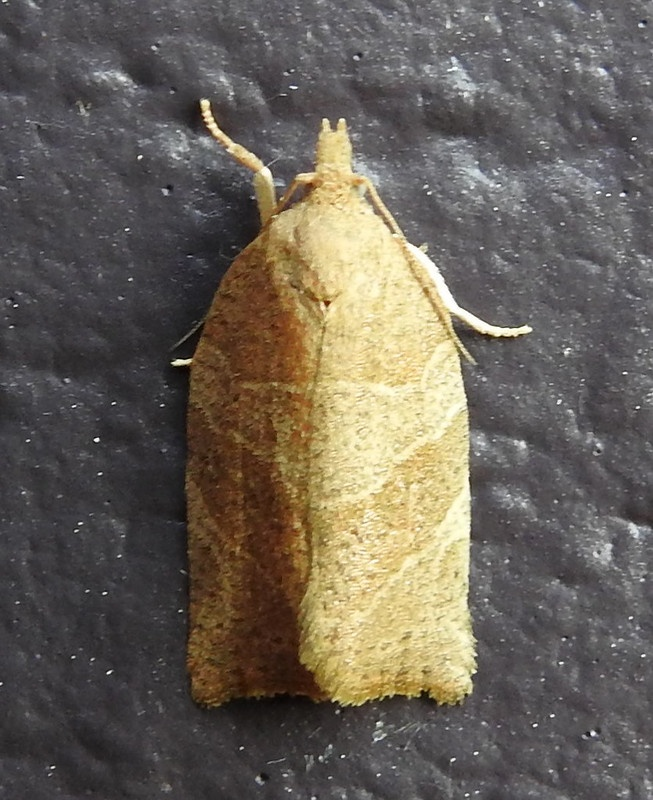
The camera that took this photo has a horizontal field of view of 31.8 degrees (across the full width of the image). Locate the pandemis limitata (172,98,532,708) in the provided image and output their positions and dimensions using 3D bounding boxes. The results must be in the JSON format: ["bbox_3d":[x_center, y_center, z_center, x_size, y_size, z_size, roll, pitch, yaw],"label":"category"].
[{"bbox_3d":[0.015,0.102,3.490,1.040,0.386,1.490,-1,84,0],"label":"pandemis limitata"}]
